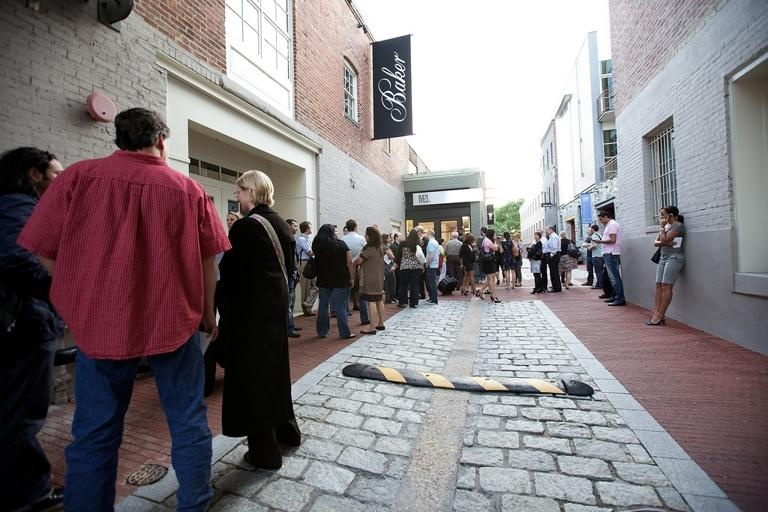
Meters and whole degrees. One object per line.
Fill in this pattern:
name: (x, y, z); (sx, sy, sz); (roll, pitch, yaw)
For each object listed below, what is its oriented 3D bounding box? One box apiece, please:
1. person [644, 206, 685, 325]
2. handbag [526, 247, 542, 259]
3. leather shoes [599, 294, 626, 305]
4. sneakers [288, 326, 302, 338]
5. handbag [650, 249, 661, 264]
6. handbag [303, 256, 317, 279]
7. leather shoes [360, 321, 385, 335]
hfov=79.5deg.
person: (4.910, 0.141, 8.042); (0.542, 2.013, 0.539); (0, 4, 30)
handbag: (4.307, -0.102, 13.420); (0.310, 0.475, 0.387); (6, -7, -32)
leather shoes: (5.012, 0.926, 10.155); (0.559, 0.228, 0.198); (2, 2, 18)
sneakers: (-1.610, 1.330, 8.272); (0.118, 0.161, 0.360); (4, -10, -41)
handbag: (4.977, -0.021, 8.478); (0.139, 0.177, 0.301); (11, 49, 26)
handbag: (-1.287, 0.185, 7.952); (0.191, 0.346, 0.313); (-1, 3, 13)
leather shoes: (-0.217, 1.249, 8.399); (0.236, 0.147, 0.355); (-1, -4, -41)
